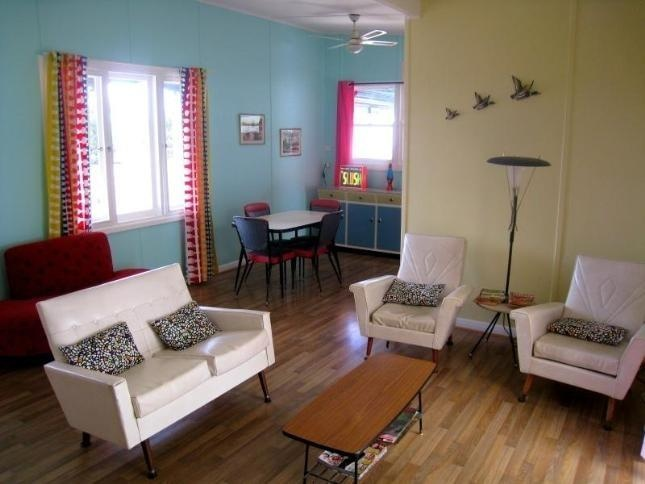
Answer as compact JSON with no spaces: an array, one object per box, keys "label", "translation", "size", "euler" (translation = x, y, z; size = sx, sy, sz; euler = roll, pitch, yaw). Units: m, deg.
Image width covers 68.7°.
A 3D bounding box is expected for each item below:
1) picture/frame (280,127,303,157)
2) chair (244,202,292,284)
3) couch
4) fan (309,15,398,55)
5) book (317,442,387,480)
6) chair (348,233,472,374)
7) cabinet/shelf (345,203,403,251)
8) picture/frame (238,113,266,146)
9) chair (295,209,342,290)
[{"label":"picture/frame","translation":[-0.547,-1.701,7.981],"size":[0.037,0.444,0.504],"euler":[8,12,38]},{"label":"chair","translation":[-0.844,-0.187,6.837],"size":[0.462,0.733,0.469],"euler":[7,17,36]},{"label":"couch","translation":[-1.264,0.902,3.726],"size":[1.114,1.202,1.521],"euler":[1,11,28]},{"label":"fan","translation":[0.516,-3.272,7.410],"size":[0.925,0.463,0.860],"euler":[5,19,21]},{"label":"book","translation":[0.186,1.396,3.047],"size":[0.289,0.079,0.285],"euler":[-7,8,-39]},{"label":"chair","translation":[1.026,0.554,4.778],"size":[1.076,1.223,1.110],"euler":[6,9,33]},{"label":"cabinet/shelf","translation":[0.886,-0.261,7.816],"size":[0.752,0.504,0.291],"euler":[5,7,30]},{"label":"picture/frame","translation":[-1.107,-1.736,7.238],"size":[0.043,0.610,0.481],"euler":[12,19,39]},{"label":"chair","translation":[-0.084,0.094,6.530],"size":[0.644,1.063,0.610],"euler":[9,14,42]}]
